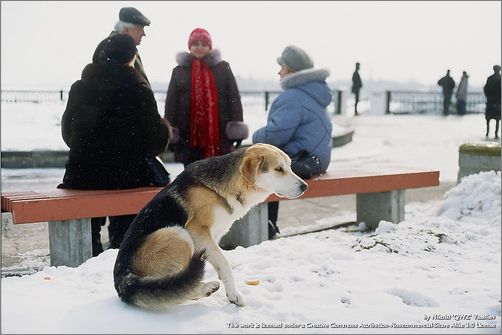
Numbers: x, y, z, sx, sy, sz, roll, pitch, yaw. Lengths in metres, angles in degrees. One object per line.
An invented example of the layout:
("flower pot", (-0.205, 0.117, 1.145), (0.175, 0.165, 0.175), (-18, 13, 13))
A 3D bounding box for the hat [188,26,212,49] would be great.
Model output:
("hat", (-0.846, -2.131, 16.312), (0.369, 0.343, 0.415), (-1, 5, -6))

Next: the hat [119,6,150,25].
("hat", (-1.933, -2.471, 16.159), (0.458, 0.294, 0.268), (1, 5, 19))

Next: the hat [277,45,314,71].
("hat", (0.693, -1.790, 16.749), (0.428, 0.383, 0.614), (-15, 20, 1))

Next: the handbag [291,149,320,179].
("handbag", (0.912, -0.059, 16.410), (0.495, 0.519, 0.374), (22, 3, 5))
